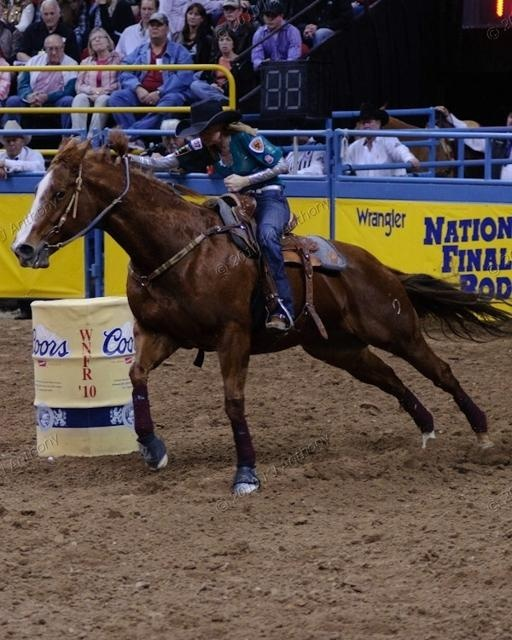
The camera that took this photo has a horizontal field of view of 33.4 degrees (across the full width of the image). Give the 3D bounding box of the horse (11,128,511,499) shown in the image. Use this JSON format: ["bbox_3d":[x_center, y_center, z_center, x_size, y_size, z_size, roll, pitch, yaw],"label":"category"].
[{"bbox_3d":[0.055,-0.096,5.038,2.840,2.020,0.717,-8,10,-30],"label":"horse"}]

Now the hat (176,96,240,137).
[{"bbox_3d":[-0.224,-1.204,4.978,0.310,0.127,0.375,-6,16,47],"label":"hat"}]

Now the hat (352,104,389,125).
[{"bbox_3d":[1.348,-2.419,10.108,0.426,0.171,0.483,-21,7,1],"label":"hat"}]
